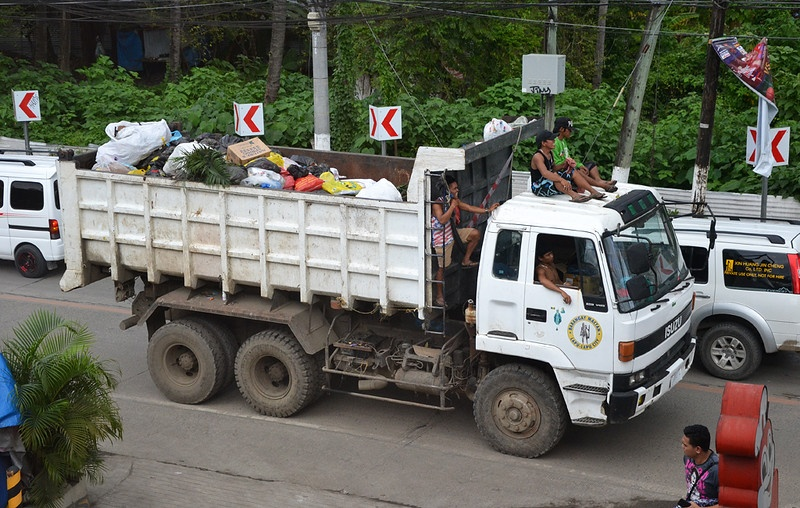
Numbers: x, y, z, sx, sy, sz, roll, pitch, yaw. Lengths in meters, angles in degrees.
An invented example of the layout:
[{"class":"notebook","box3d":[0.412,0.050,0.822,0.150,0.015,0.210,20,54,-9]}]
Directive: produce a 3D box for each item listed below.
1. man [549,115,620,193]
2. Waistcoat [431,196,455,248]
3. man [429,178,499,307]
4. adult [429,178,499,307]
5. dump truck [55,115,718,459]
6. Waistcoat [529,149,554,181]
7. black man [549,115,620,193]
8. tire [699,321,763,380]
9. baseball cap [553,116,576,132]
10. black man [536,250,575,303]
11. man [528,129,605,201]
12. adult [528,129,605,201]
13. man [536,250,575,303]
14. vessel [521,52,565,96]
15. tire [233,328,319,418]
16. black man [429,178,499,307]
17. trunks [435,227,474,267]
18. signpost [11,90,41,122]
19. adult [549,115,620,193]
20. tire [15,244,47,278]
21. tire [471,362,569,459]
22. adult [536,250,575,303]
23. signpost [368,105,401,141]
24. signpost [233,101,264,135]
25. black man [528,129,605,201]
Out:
[{"class":"man","box3d":[2.704,-1.495,11.927,0.534,1.028,1.139,-17,24,-32]},{"class":"Waistcoat","box3d":[0.622,-0.461,11.435,0.183,0.733,0.406,9,15,38]},{"class":"man","box3d":[0.892,-0.125,11.591,1.063,1.876,0.746,-3,42,11]},{"class":"adult","box3d":[0.894,-0.266,11.704,1.006,1.839,0.669,-16,20,-26]},{"class":"dump truck","box3d":[0.080,0.244,13.973,11.224,5.543,4.564,4,21,19]},{"class":"Waistcoat","box3d":[2.041,-1.365,11.787,0.342,0.667,0.494,1,10,22]},{"class":"black man","box3d":[2.690,-1.502,11.909,0.535,1.040,1.176,-14,19,-26]},{"class":"tire","box3d":[5.566,1.599,13.378,0.867,0.952,0.316,2,8,30]},{"class":"baseball cap","box3d":[2.524,-1.940,12.182,0.336,0.210,0.247,-11,28,-18]},{"class":"black man","box3d":[2.182,0.320,11.201,0.432,0.841,0.595,1,26,35]},{"class":"man","box3d":[2.391,-1.292,11.575,0.623,0.956,1.086,-16,19,-43]},{"class":"adult","box3d":[2.393,-1.286,11.585,0.607,0.941,1.079,-16,20,-43]},{"class":"man","box3d":[2.179,0.328,11.205,0.438,0.870,0.611,1,26,33]},{"class":"vessel","box3d":[3.087,-3.875,17.238,1.050,0.795,1.107,-3,16,-13]},{"class":"tire","box3d":[-2.146,1.971,12.671,1.299,1.367,0.470,15,-31,-33]},{"class":"black man","box3d":[0.892,-0.125,11.591,1.063,1.876,0.747,-3,42,11]},{"class":"trunks","box3d":[0.816,-0.109,11.661,0.553,0.695,0.523,-3,30,8]},{"class":"signpost","box3d":[-9.816,-3.849,20.913,0.576,0.794,0.695,-7,14,-30]},{"class":"adult","box3d":[2.695,-1.497,11.945,0.513,1.000,1.114,-19,27,-35]},{"class":"tire","box3d":[-8.294,0.118,17.881,0.606,0.662,0.228,-5,14,29]},{"class":"tire","box3d":[1.752,2.230,11.486,1.146,1.252,0.406,-8,8,21]},{"class":"adult","box3d":[2.176,0.330,11.198,0.452,0.862,0.628,-2,25,27]},{"class":"signpost","box3d":[-0.403,-2.939,18.167,0.741,0.783,0.758,-1,0,-18]},{"class":"signpost","box3d":[-3.692,-3.227,19.311,0.735,0.806,0.748,-1,-1,1]},{"class":"black man","box3d":[2.408,-1.285,11.578,0.623,0.913,1.102,-17,20,-42]}]
